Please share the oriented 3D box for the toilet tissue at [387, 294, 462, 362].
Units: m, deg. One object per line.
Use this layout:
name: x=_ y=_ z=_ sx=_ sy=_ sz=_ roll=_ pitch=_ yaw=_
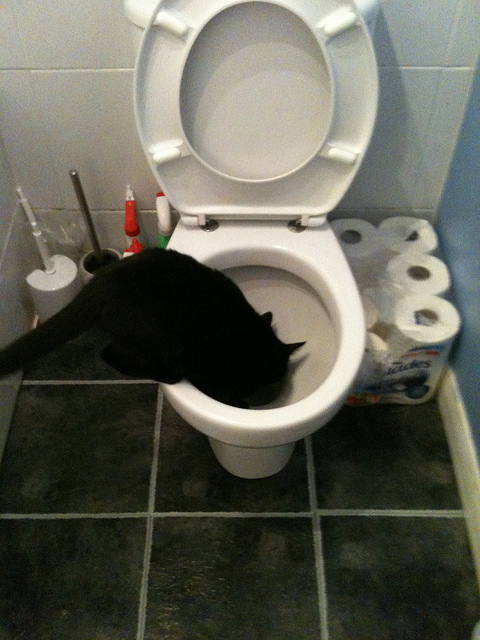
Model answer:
toilet tissue: x=0.383 y=0.021 z=1.205 sx=0.131 sy=0.140 sz=0.132 roll=1 pitch=82 yaw=5
